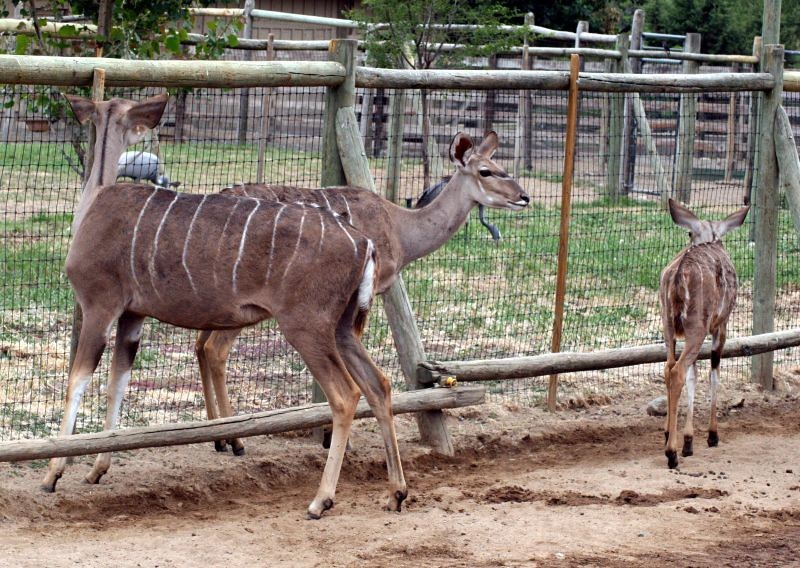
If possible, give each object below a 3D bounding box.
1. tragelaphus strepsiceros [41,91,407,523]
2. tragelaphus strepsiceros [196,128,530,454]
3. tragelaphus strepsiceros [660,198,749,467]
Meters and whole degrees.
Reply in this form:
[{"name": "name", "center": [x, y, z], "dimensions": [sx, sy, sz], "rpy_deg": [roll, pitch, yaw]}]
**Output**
[{"name": "tragelaphus strepsiceros", "center": [-1.514, 0.046, 8.842], "dimensions": [3.137, 3.052, 0.967], "rpy_deg": [3, 2, 13]}, {"name": "tragelaphus strepsiceros", "center": [-0.380, -0.004, 9.437], "dimensions": [2.578, 2.502, 0.665], "rpy_deg": [1, 8, -19]}, {"name": "tragelaphus strepsiceros", "center": [2.516, 0.335, 10.254], "dimensions": [0.676, 2.092, 2.330], "rpy_deg": [2, 2, 23]}]
